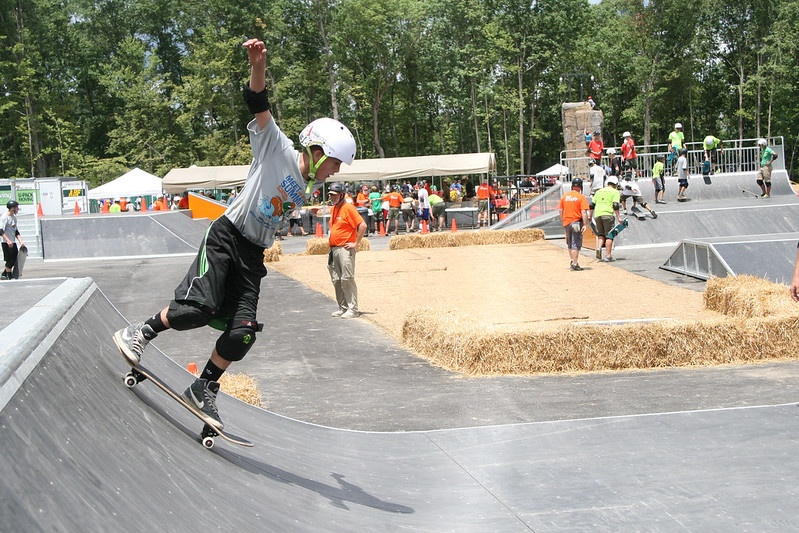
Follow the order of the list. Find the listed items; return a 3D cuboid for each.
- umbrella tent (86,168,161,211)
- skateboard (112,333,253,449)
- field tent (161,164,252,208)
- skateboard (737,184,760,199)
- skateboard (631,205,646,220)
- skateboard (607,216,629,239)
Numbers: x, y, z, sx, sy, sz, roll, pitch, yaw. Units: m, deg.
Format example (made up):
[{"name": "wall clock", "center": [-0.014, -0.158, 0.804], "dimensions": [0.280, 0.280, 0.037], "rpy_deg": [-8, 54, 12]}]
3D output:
[{"name": "umbrella tent", "center": [-15.435, -4.268, 41.953], "dimensions": [4.694, 1.922, 4.526], "rpy_deg": [-5, 16, -16]}, {"name": "skateboard", "center": [-1.636, 0.963, 5.702], "dimensions": [1.097, 0.196, 0.253], "rpy_deg": [39, 4, 0]}, {"name": "field tent", "center": [-9.540, -4.250, 36.411], "dimensions": [3.995, 1.155, 4.030], "rpy_deg": [-3, 12, -1]}, {"name": "skateboard", "center": [13.088, -2.859, 28.465], "dimensions": [1.156, 0.325, 0.313], "rpy_deg": [18, -15, -11]}, {"name": "skateboard", "center": [7.216, -1.612, 22.660], "dimensions": [0.309, 0.108, 0.407], "rpy_deg": [-3, 44, -23]}, {"name": "skateboard", "center": [5.901, -1.037, 20.353], "dimensions": [0.355, 0.398, 1.398], "rpy_deg": [50, 32, 14]}]
